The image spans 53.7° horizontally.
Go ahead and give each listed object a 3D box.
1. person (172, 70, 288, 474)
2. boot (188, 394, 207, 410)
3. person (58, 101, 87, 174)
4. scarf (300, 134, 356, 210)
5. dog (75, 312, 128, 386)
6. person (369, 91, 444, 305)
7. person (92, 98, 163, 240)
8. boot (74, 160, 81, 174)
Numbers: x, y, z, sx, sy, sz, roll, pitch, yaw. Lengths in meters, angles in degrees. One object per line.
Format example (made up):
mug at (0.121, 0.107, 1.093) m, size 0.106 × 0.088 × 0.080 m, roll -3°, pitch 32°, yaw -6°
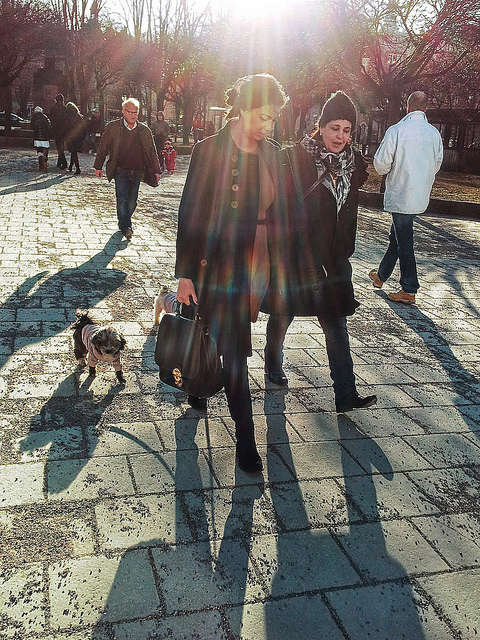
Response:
person at (-0.051, -0.176, 2.285) m, size 0.522 × 1.894 × 0.304 m, roll 4°, pitch 10°, yaw -2°
boot at (-0.271, 0.532, 3.073) m, size 0.105 × 0.120 × 0.108 m, roll 6°, pitch 8°, yaw 23°
person at (-5.373, -5.868, 15.215) m, size 0.777 × 2.209 × 0.822 m, roll -8°, pitch 24°, yaw -33°
scarf at (0.530, -0.888, 2.858) m, size 0.263 × 0.429 × 0.268 m, roll -8°, pitch 21°, yaw -21°
dog at (-1.003, 0.147, 3.351) m, size 0.216 × 0.376 × 0.663 m, roll -2°, pitch 29°, yaw -25°
person at (2.002, -1.521, 5.862) m, size 0.749 × 2.565 × 0.581 m, roll 9°, pitch 11°, yaw 23°
person at (-1.854, -2.530, 7.839) m, size 1.064 × 2.234 × 0.590 m, roll 1°, pitch 10°, yaw -20°
boot at (-5.098, -4.813, 14.848) m, size 0.156 × 0.567 × 0.447 m, roll -4°, pitch 54°, yaw -16°
